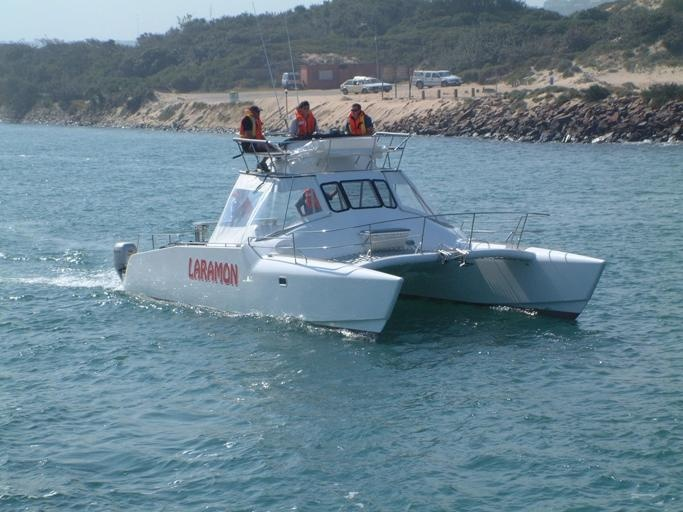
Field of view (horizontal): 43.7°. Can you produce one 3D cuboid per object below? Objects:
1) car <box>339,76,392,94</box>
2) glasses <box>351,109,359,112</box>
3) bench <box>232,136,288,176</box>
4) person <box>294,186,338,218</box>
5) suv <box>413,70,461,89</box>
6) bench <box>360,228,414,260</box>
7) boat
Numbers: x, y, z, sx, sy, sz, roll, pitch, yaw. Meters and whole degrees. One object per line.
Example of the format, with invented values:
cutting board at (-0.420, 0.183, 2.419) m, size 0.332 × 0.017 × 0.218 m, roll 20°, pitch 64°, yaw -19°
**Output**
car at (2.263, -14.300, 71.678) m, size 4.024 × 0.739 × 2.497 m, roll 4°, pitch 8°, yaw 41°
glasses at (0.317, -3.325, 19.466) m, size 0.160 × 0.026 × 0.127 m, roll 3°, pitch 1°, yaw -21°
bench at (-1.959, -2.163, 19.091) m, size 1.281 × 0.654 × 1.272 m, roll 3°, pitch 13°, yaw -3°
person at (-0.516, -1.164, 18.326) m, size 0.937 × 0.600 × 0.387 m, roll -2°, pitch 20°, yaw -2°
suv at (7.601, -14.415, 69.104) m, size 4.157 × 0.858 × 2.031 m, roll 1°, pitch 7°, yaw 33°
bench at (1.000, -0.295, 17.889) m, size 1.098 × 0.470 × 0.665 m, roll -4°, pitch 16°, yaw -10°
boat at (0.073, -0.936, 18.243) m, size 9.557 × 4.693 × 3.785 m, roll 5°, pitch 20°, yaw 22°
